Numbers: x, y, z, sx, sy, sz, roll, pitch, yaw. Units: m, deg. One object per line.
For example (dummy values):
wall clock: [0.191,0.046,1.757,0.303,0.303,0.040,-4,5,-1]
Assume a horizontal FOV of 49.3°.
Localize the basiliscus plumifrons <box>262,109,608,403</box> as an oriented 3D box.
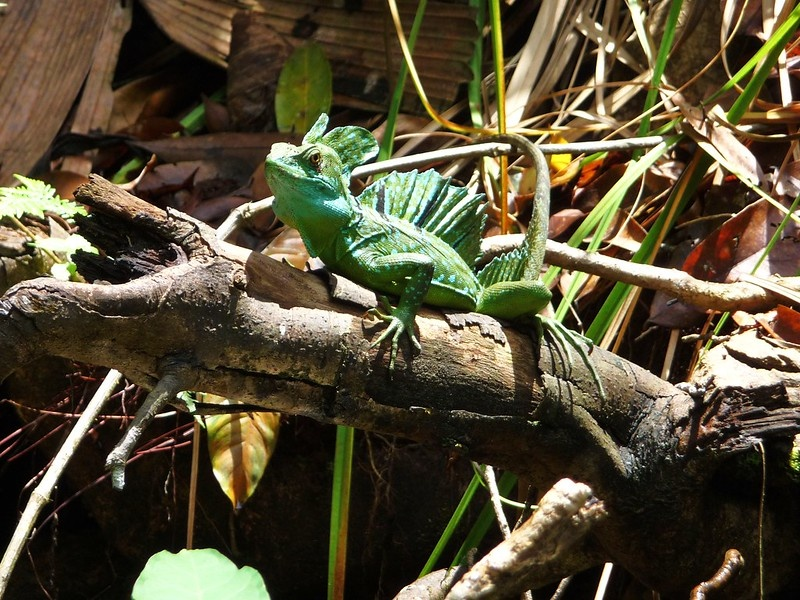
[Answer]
basiliscus plumifrons: [0.079,-0.266,3.642,1.326,0.614,0.835,11,26,-18]
